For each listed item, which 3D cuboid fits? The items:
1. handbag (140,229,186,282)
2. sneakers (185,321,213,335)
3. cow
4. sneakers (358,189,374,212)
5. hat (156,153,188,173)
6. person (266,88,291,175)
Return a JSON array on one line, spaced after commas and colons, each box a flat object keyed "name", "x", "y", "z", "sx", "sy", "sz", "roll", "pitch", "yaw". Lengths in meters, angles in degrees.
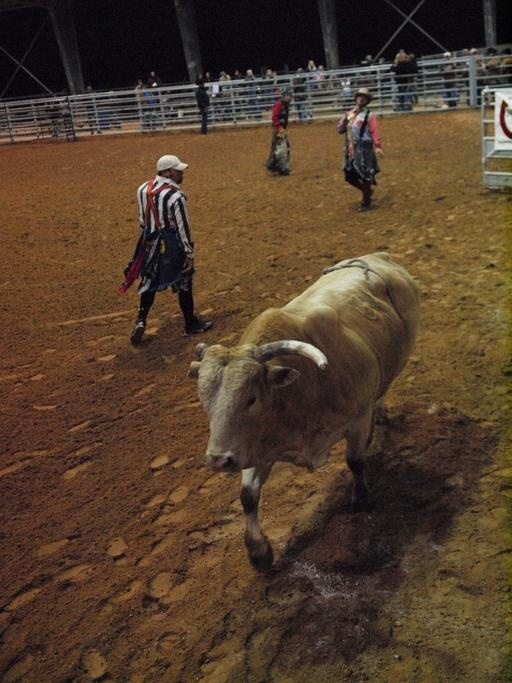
[{"name": "handbag", "x": -0.997, "y": -0.884, "z": 5.344, "sx": 0.472, "sy": 0.579, "sz": 0.134, "roll": -5, "pitch": 20, "yaw": 13}, {"name": "sneakers", "x": -0.659, "y": -0.170, "z": 5.931, "sx": 0.274, "sy": 0.122, "sz": 0.148, "roll": -22, "pitch": 34, "yaw": -22}, {"name": "cow", "x": 0.231, "y": 0.182, "z": 3.104, "sx": 0.790, "sy": 1.337, "sz": 2.454, "roll": -9, "pitch": 13, "yaw": 27}, {"name": "sneakers", "x": 1.869, "y": -2.425, "z": 8.745, "sx": 0.166, "sy": 0.285, "sz": 0.546, "roll": -25, "pitch": 20, "yaw": 21}, {"name": "hat", "x": -0.867, "y": -1.827, "z": 5.223, "sx": 0.269, "sy": 0.171, "sz": 0.355, "roll": -11, "pitch": 20, "yaw": -5}, {"name": "person", "x": 0.479, "y": -4.580, "z": 11.273, "sx": 0.693, "sy": 1.708, "sz": 0.980, "roll": -8, "pitch": 20, "yaw": 4}]
